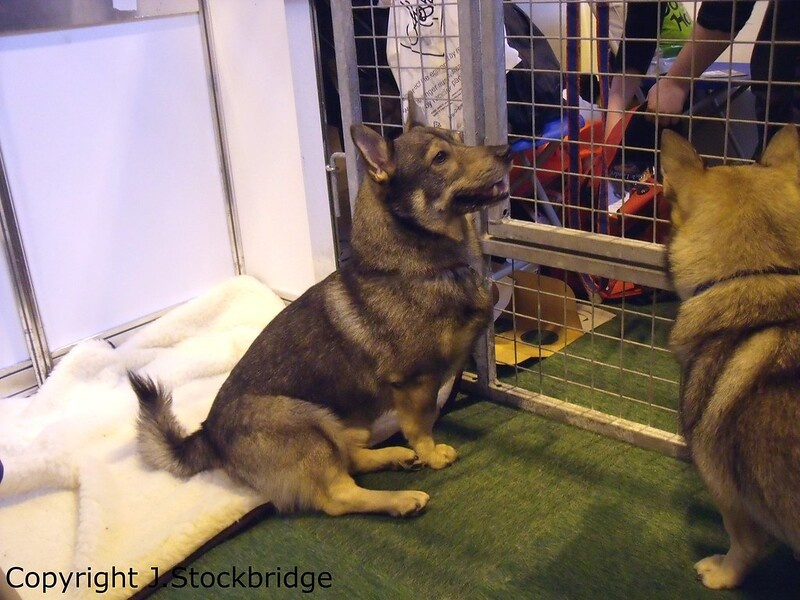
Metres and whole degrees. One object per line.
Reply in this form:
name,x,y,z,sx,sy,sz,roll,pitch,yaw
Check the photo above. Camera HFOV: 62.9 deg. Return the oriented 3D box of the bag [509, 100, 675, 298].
bag,1.206,-0.701,4.025,0.916,1.444,1.285,1,11,16
